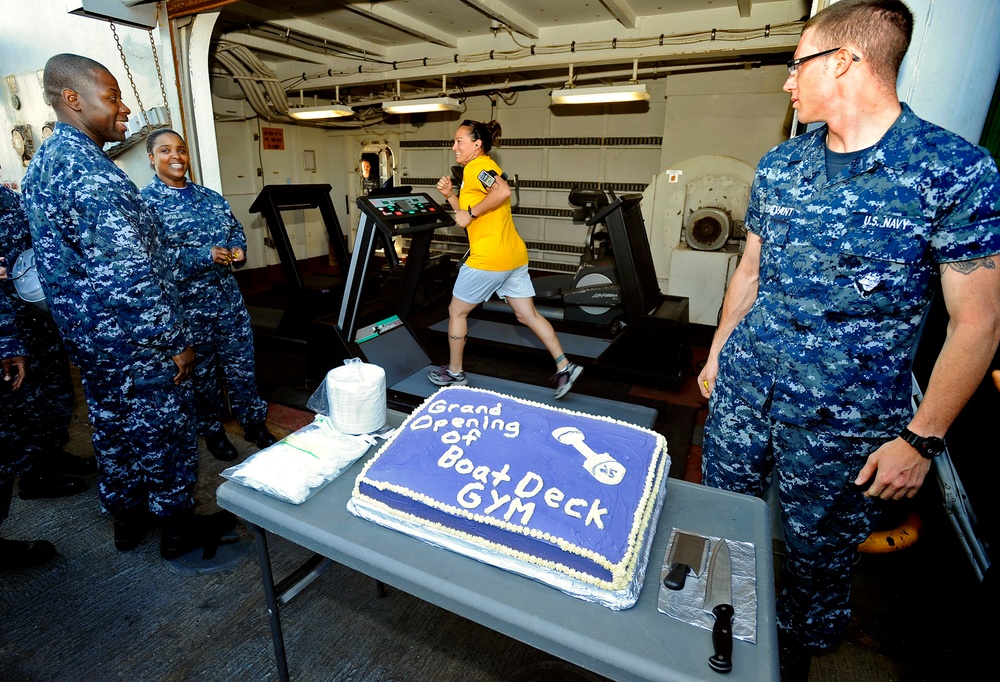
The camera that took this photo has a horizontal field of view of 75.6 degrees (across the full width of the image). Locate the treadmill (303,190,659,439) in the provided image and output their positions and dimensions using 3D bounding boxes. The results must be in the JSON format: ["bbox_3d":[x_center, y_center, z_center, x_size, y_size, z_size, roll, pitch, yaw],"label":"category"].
[{"bbox_3d":[-0.374,-0.390,5.281,2.163,1.651,2.755,11,9,15],"label":"treadmill"}]

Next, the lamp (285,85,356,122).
[{"bbox_3d":[-2.431,-3.252,8.684,0.988,0.478,0.495,3,15,15],"label":"lamp"}]

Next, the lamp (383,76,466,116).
[{"bbox_3d":[-0.945,-3.170,8.177,0.956,0.479,0.470,4,23,14],"label":"lamp"}]
